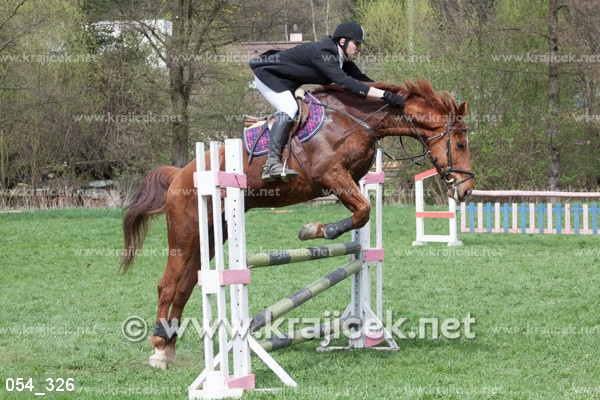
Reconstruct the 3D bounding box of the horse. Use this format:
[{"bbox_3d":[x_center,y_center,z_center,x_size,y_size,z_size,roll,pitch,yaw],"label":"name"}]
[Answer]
[{"bbox_3d":[-0.131,0.772,21.308,8.144,6.999,2.053,-4,-19,14],"label":"horse"}]
